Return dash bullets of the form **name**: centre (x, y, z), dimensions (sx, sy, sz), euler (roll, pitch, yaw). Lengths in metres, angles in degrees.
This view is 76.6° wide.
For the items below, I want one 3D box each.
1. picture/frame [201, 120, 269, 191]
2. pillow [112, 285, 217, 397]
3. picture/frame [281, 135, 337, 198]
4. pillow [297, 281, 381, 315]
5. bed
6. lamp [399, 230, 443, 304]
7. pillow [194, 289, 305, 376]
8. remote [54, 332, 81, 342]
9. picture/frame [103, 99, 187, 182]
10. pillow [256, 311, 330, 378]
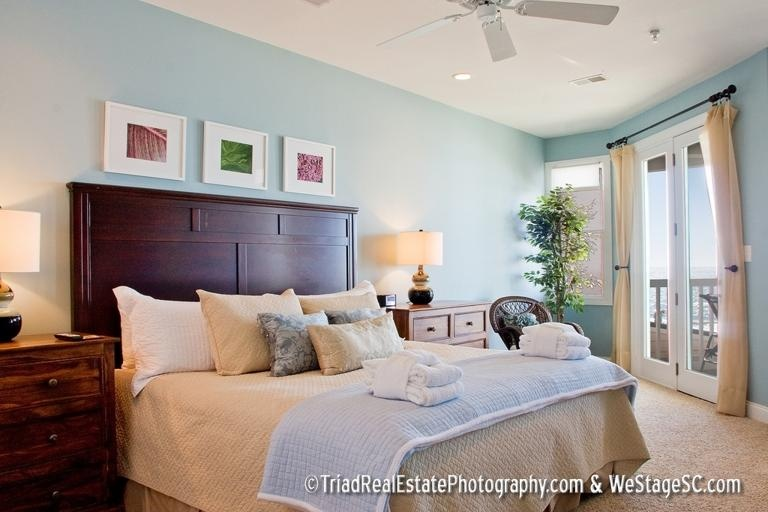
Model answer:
- **picture/frame**: centre (-1.310, -0.866, 4.177), dimensions (0.676, 0.593, 0.064), euler (-4, 6, -42)
- **pillow**: centre (-1.496, 0.622, 3.465), dimensions (0.411, 0.636, 0.758), euler (-4, -7, 42)
- **picture/frame**: centre (-0.739, -0.848, 4.601), dimensions (0.067, 0.566, 0.671), euler (4, 4, 43)
- **pillow**: centre (-0.403, 0.351, 4.060), dimensions (0.657, 0.267, 0.260), euler (-10, 4, 6)
- **bed**: centre (-0.267, 0.593, 3.575), dimensions (2.644, 1.582, 2.665), euler (-4, -5, 41)
- **lamp**: centre (0.389, 0.148, 5.189), dimensions (0.480, 0.686, 0.471), euler (1, 0, 18)
- **pillow**: centre (-0.930, 0.563, 3.686), dimensions (0.345, 0.652, 0.938), euler (-14, -11, 30)
- **remote**: centre (-1.967, 0.504, 3.031), dimensions (0.128, 0.017, 0.087), euler (2, 2, 43)
- **picture/frame**: centre (-1.892, -0.894, 3.776), dimensions (0.728, 0.648, 0.065), euler (-2, 2, -41)
- **pillow**: centre (-0.642, 0.590, 3.330), dimensions (0.430, 0.392, 0.130), euler (-1, -19, -44)
